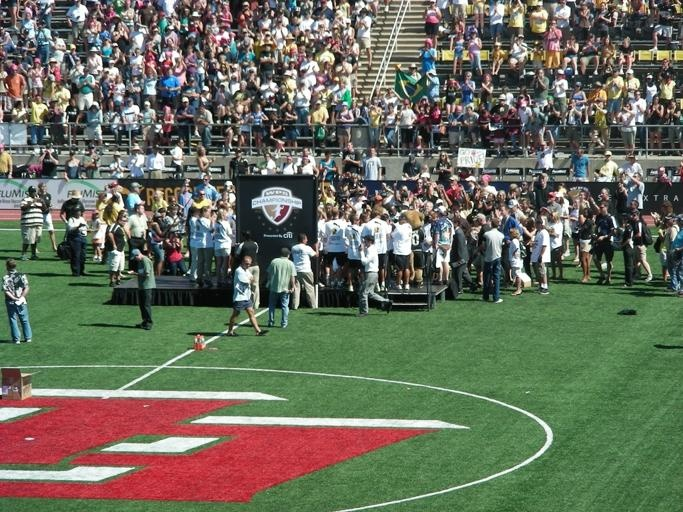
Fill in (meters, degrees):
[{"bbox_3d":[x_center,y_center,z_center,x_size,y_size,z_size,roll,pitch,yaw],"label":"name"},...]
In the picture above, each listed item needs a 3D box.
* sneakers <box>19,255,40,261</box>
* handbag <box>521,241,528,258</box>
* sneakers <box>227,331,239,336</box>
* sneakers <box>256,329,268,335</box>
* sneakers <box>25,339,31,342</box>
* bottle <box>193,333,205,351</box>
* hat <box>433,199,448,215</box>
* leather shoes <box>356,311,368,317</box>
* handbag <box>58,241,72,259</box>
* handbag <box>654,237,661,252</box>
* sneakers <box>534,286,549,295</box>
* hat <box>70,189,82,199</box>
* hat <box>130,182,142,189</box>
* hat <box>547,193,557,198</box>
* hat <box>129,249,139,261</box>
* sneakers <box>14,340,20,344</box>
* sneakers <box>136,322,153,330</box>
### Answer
[{"bbox_3d":[-10.545,-0.003,54.353,0.584,0.256,0.202,-2,7,0],"label":"sneakers"},{"bbox_3d":[5.669,-0.256,50.321,0.253,0.482,0.345,-10,20,0],"label":"handbag"},{"bbox_3d":[-3.127,2.158,46.146,0.261,0.122,0.126,-1,7,-3],"label":"sneakers"},{"bbox_3d":[-2.274,2.126,45.980,0.338,0.148,0.124,-12,23,-10],"label":"sneakers"},{"bbox_3d":[-8.866,2.338,45.570,0.062,0.064,0.145,1,-4,-34],"label":"sneakers"},{"bbox_3d":[-4.008,2.346,45.079,0.351,0.471,0.381,1,7,0],"label":"bottle"},{"bbox_3d":[2.995,-1.469,49.704,0.368,0.205,0.566,-1,34,-27],"label":"hat"},{"bbox_3d":[0.594,1.643,47.815,0.290,0.166,0.266,-2,1,5],"label":"leather shoes"},{"bbox_3d":[-9.250,-0.250,53.945,0.436,0.330,0.629,10,-32,-8],"label":"handbag"},{"bbox_3d":[10.178,-0.416,52.046,0.220,0.444,0.312,12,9,14],"label":"handbag"},{"bbox_3d":[6.222,1.003,50.304,0.394,0.173,0.164,8,12,44],"label":"sneakers"},{"bbox_3d":[-8.732,-2.064,52.882,0.534,0.267,0.710,-1,-2,-18],"label":"hat"},{"bbox_3d":[-7.003,-2.453,54.852,0.417,0.168,0.426,1,-2,4],"label":"hat"},{"bbox_3d":[6.876,-2.026,52.754,0.269,0.223,0.489,-1,1,18],"label":"hat"},{"bbox_3d":[-5.898,-0.115,46.415,0.252,0.191,0.351,-14,12,35],"label":"hat"},{"bbox_3d":[-9.155,2.381,45.502,0.066,0.083,0.178,3,-9,-36],"label":"sneakers"},{"bbox_3d":[-5.758,1.963,46.772,0.473,0.218,0.220,-2,1,6],"label":"sneakers"}]
